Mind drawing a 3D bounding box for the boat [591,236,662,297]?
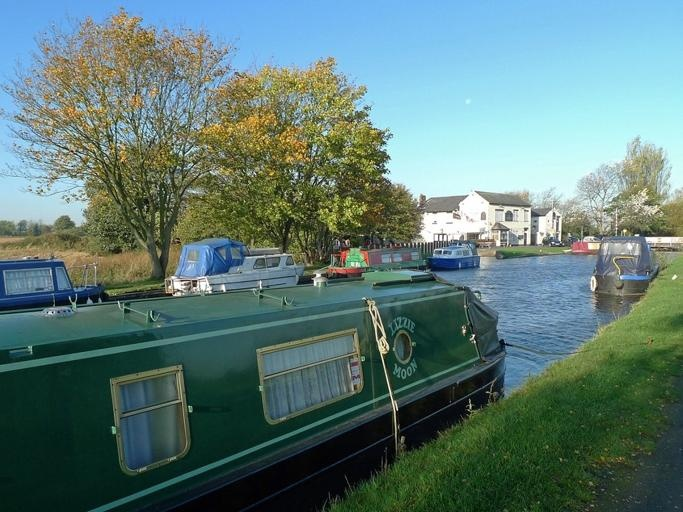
[{"bbox_3d":[14.763,0.610,25.844,3.172,3.216,8.542,-4,0,31],"label":"boat"}]
